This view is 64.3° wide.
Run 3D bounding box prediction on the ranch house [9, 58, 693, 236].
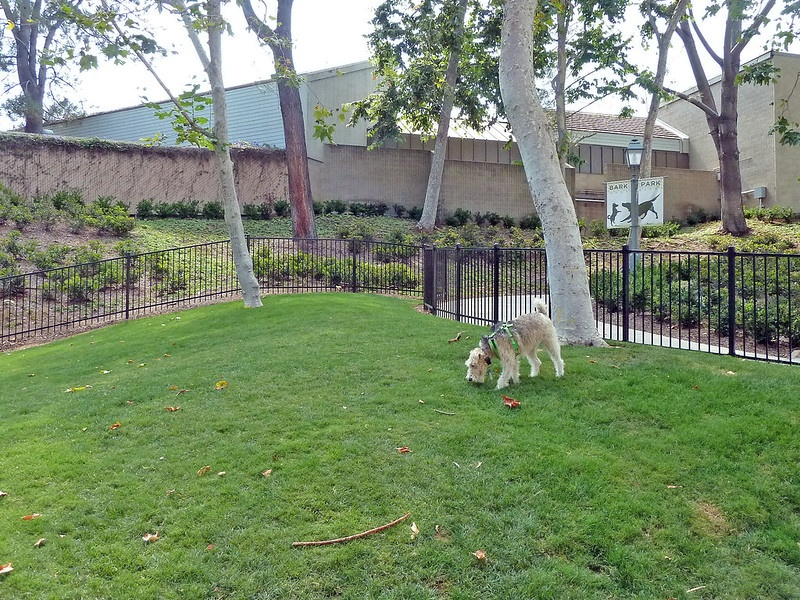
[{"bbox_3d":[1.112,-8.624,35.986,33.906,8.923,9.096,-5,13,-11],"label":"ranch house"}]
